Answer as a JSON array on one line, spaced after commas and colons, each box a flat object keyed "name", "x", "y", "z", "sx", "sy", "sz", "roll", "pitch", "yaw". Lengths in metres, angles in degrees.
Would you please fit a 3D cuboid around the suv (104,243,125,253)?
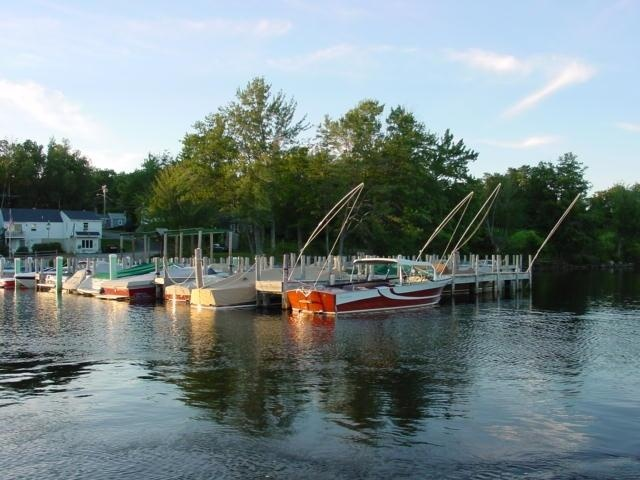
[{"name": "suv", "x": -29.832, "y": 1.121, "z": 94.742, "sx": 1.730, "sy": 0.846, "sz": 2.925, "roll": 5, "pitch": 4, "yaw": 24}]

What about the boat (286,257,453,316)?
[{"name": "boat", "x": 3.284, "y": 2.584, "z": 33.505, "sx": 8.595, "sy": 2.098, "sz": 3.312, "roll": -2, "pitch": 2, "yaw": -41}]
